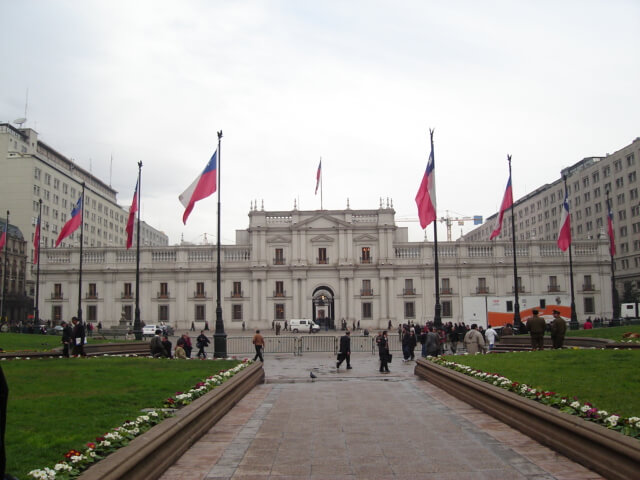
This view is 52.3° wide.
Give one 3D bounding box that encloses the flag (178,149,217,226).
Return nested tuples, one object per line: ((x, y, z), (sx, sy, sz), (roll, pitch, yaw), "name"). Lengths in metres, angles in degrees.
((-5.052, -2.211, 27.857), (0.379, 1.958, 4.824), (29, -3, -9), "flag")

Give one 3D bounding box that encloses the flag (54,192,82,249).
((-29.606, -2.218, 76.356), (0.680, 2.921, 8.880), (18, -60, -33), "flag")

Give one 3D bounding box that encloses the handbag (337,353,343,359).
((0.947, 5.284, 29.789), (0.244, 0.303, 0.257), (0, -10, -3), "handbag")

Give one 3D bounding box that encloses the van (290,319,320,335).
((-1.648, 8.998, 68.241), (2.280, 1.169, 1.405), (-2, -5, 8), "van")
